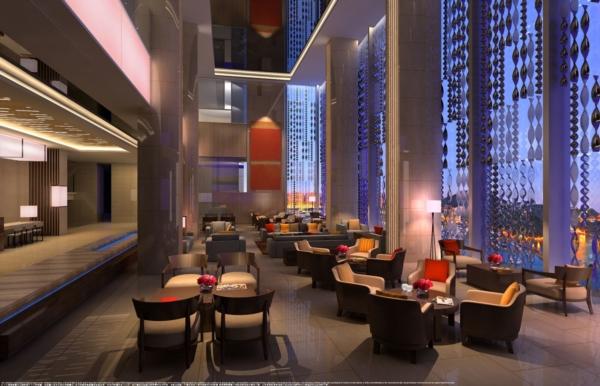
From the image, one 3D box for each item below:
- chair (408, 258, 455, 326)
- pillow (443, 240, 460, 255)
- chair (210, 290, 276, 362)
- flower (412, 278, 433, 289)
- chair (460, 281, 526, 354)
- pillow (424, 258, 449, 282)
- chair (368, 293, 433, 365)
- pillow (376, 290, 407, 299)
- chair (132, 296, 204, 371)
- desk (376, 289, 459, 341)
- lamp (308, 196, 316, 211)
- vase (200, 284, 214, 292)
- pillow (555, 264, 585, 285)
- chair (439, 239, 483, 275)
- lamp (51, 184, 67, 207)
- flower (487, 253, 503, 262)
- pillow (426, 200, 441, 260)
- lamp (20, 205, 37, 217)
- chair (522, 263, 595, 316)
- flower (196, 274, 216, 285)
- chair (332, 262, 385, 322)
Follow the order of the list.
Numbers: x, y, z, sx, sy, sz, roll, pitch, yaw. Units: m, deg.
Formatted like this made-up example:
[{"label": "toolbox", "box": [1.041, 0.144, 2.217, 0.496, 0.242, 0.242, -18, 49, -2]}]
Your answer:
[{"label": "chair", "box": [3.352, 2.423, 10.678, 1.028, 1.493, 0.975, -1, 0, 35]}, {"label": "pillow", "box": [4.535, 1.648, 12.832, 0.421, 0.434, 0.152, -1, -3, 2]}, {"label": "chair", "box": [-1.268, 2.655, 9.289, 1.235, 1.503, 1.725, -1, 7, -12]}, {"label": "flower", "box": [2.772, 2.038, 9.545, 0.297, 0.184, 0.303, -4, -6, 42]}, {"label": "chair", "box": [4.184, 2.604, 9.466, 1.373, 1.300, 1.369, 1, 3, 6]}, {"label": "pillow", "box": [3.407, 1.950, 10.673, 0.445, 0.453, 0.177, -6, -24, 30]}, {"label": "chair", "box": [2.134, 2.738, 9.162, 1.261, 1.380, 1.217, 1, 7, 33]}, {"label": "pillow", "box": [2.002, 2.166, 9.109, 0.394, 0.116, 0.410, -3, -6, 34]}, {"label": "chair", "box": [-2.839, 2.815, 9.095, 1.333, 1.499, 1.799, 0, 2, -16]}, {"label": "desk", "box": [2.929, 2.531, 9.383, 1.322, 0.497, 1.347, -1, 0, -13]}, {"label": "lamp", "box": [0.687, 0.557, 24.050, 0.436, 0.902, 0.764, -1, -2, 2]}, {"label": "vase", "box": [-2.092, 2.140, 9.548, 0.184, 0.131, 0.178, 1, 0, 33]}, {"label": "pillow", "box": [6.455, 1.971, 10.218, 0.490, 0.555, 0.585, 2, 2, 20]}, {"label": "chair", "box": [4.698, 1.942, 12.716, 0.967, 1.042, 1.151, 0, 0, -12]}, {"label": "lamp", "box": [-9.129, 0.095, 16.160, 0.507, 0.767, 0.480, 0, -2, -38]}, {"label": "flower", "box": [5.303, 1.789, 11.616, 0.307, 0.242, 0.401, -2, -2, 31]}, {"label": "pillow", "box": [4.201, 1.290, 13.511, 0.469, 2.186, 0.469, -10, 14, -29]}, {"label": "lamp", "box": [-9.818, 0.657, 15.439, 0.484, 0.481, 0.484, -3, 6, -35]}, {"label": "chair", "box": [6.501, 2.348, 10.800, 1.132, 1.186, 1.434, 0, -1, -7]}, {"label": "flower", "box": [-2.124, 1.964, 9.646, 0.371, 0.237, 0.435, -1, -2, -14]}, {"label": "chair", "box": [1.423, 2.327, 10.251, 1.001, 1.185, 1.118, -4, 4, -44]}]
